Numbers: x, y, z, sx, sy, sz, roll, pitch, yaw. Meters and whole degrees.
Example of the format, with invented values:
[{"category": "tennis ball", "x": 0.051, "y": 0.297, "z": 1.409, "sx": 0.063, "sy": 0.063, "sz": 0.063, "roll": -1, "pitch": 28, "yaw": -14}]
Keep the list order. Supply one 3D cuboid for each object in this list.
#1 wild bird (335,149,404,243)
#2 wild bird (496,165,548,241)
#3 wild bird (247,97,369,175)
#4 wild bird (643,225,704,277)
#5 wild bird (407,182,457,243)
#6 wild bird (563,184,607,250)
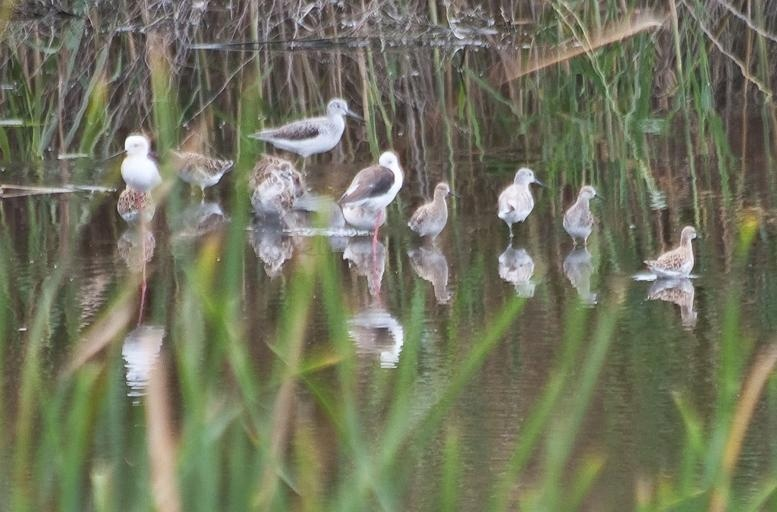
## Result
[{"category": "wild bird", "x": -0.075, "y": -0.241, "z": 4.346, "sx": 0.190, "sy": 0.311, "sz": 0.353, "roll": 8, "pitch": 15, "yaw": 30}, {"category": "wild bird", "x": 0.581, "y": -0.245, "z": 4.382, "sx": 0.122, "sy": 0.233, "sz": 0.340, "roll": 5, "pitch": 20, "yaw": 19}, {"category": "wild bird", "x": -0.356, "y": -0.563, "z": 4.968, "sx": 0.644, "sy": 0.490, "sz": 0.246, "roll": 0, "pitch": 8, "yaw": -16}, {"category": "wild bird", "x": 0.970, "y": 0.001, "z": 3.645, "sx": 0.173, "sy": 0.182, "sz": 0.096, "roll": -10, "pitch": 14, "yaw": 1}, {"category": "wild bird", "x": 0.167, "y": -0.169, "z": 4.338, "sx": 0.234, "sy": 0.265, "sz": 0.105, "roll": 7, "pitch": 14, "yaw": 33}, {"category": "wild bird", "x": 0.748, "y": -0.164, "z": 4.231, "sx": 0.124, "sy": 0.266, "sz": 0.275, "roll": 2, "pitch": 13, "yaw": -6}]
